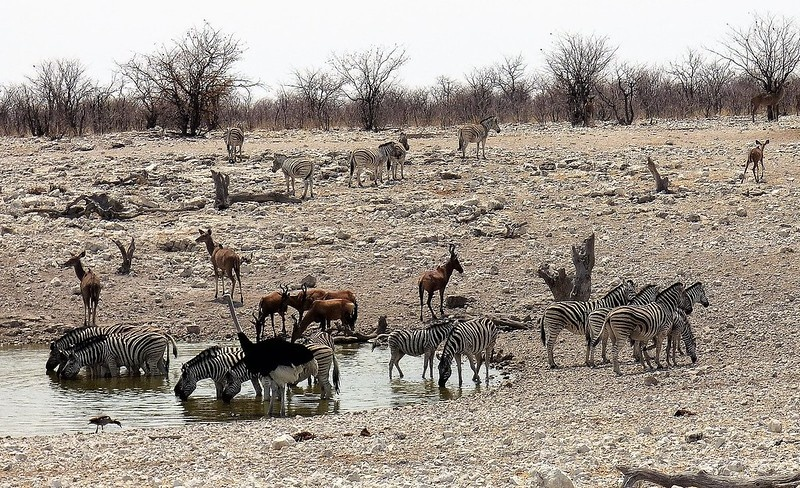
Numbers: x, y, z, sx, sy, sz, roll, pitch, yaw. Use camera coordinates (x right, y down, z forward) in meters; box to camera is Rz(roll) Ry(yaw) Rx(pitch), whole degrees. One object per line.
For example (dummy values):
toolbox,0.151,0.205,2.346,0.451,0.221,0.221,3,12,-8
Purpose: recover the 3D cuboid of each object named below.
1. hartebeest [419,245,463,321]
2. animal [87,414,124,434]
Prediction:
hartebeest,0.960,0.895,21.891,1.021,1.727,1.555,-3,-1,3
animal,-5.141,3.128,16.521,0.553,0.271,0.685,-3,-1,-18
